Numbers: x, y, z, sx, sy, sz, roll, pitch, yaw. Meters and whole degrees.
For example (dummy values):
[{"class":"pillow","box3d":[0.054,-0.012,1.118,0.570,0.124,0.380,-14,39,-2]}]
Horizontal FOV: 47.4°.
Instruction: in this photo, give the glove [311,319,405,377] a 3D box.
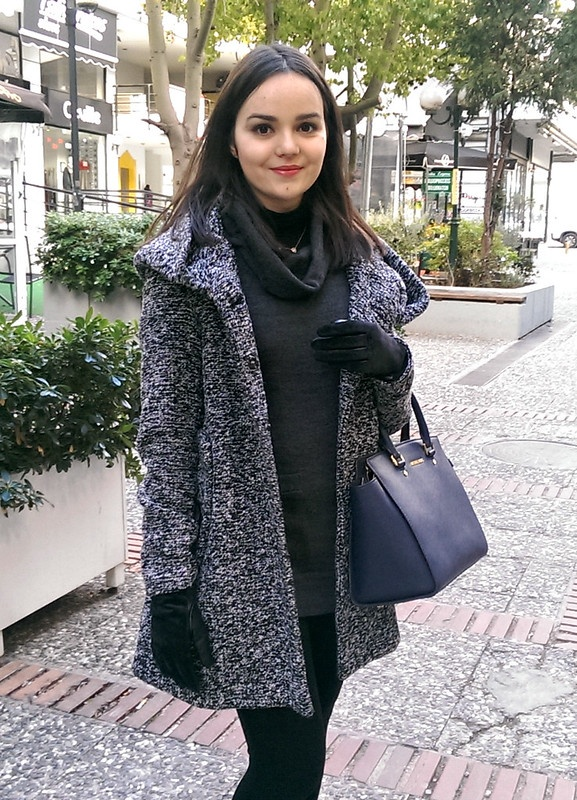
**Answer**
[{"class":"glove","box3d":[0.124,-0.077,1.063,0.093,0.098,0.220,4,7,27]}]

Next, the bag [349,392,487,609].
[{"class":"bag","box3d":[0.223,0.161,1.098,0.180,0.312,0.250,4,7,25]}]

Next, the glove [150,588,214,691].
[{"class":"glove","box3d":[-0.168,0.376,1.038,0.064,0.170,0.112,4,7,27]}]
